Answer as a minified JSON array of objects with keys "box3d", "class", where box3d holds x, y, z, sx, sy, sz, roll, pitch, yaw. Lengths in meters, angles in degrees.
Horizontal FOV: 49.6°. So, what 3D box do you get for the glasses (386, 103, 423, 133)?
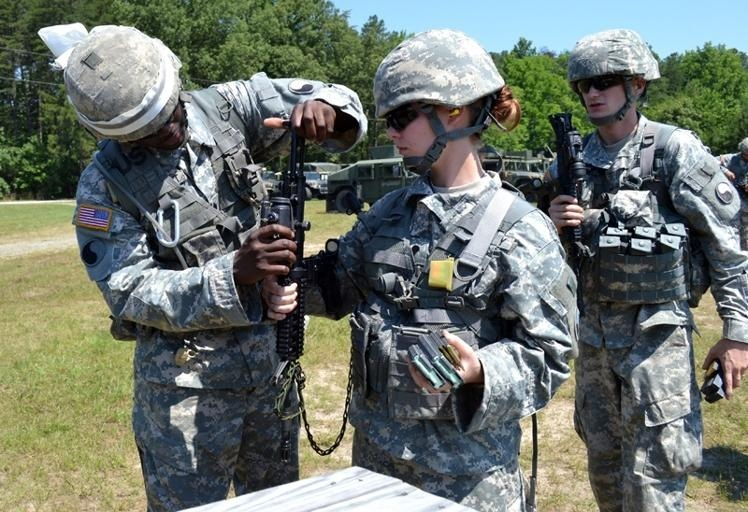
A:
[{"box3d":[0.210,-1.005,5.855,0.197,0.070,0.212,-2,18,39],"class":"glasses"}]
